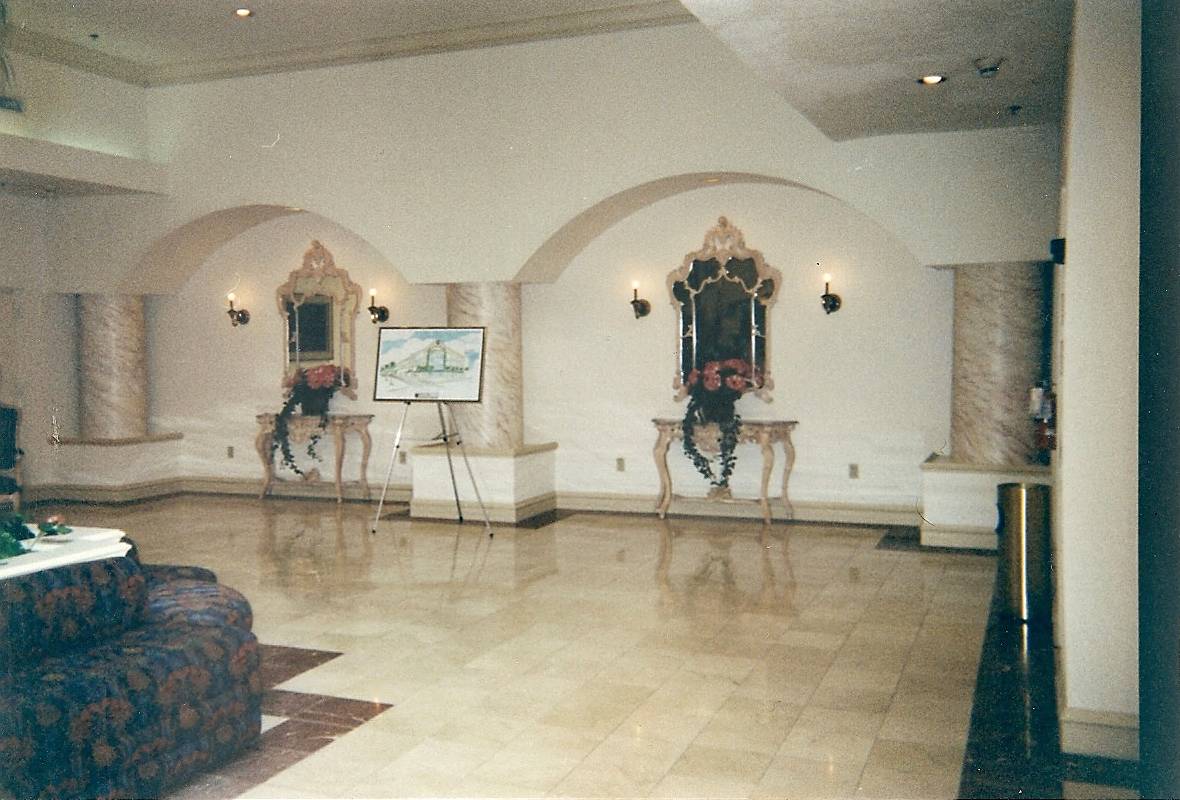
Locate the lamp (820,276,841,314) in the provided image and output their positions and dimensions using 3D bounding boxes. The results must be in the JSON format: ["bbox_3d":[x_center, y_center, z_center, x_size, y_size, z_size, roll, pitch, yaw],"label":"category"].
[{"bbox_3d":[2.699,-1.165,9.825,0.218,0.425,0.113,1,8,19],"label":"lamp"}]

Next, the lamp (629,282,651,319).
[{"bbox_3d":[0.608,-1.169,10.501,0.279,0.413,0.112,0,7,6],"label":"lamp"}]

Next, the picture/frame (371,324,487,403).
[{"bbox_3d":[-1.725,-0.394,9.666,1.067,0.654,0.040,1,-1,14],"label":"picture/frame"}]

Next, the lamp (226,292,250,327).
[{"bbox_3d":[-4.777,-1.231,11.977,0.388,0.426,0.127,2,8,27],"label":"lamp"}]

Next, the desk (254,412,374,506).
[{"bbox_3d":[-3.580,0.657,11.742,1.622,0.998,0.806,-2,3,-14],"label":"desk"}]

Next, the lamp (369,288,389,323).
[{"bbox_3d":[-2.714,-1.208,11.386,0.276,0.447,0.109,3,9,32],"label":"lamp"}]
